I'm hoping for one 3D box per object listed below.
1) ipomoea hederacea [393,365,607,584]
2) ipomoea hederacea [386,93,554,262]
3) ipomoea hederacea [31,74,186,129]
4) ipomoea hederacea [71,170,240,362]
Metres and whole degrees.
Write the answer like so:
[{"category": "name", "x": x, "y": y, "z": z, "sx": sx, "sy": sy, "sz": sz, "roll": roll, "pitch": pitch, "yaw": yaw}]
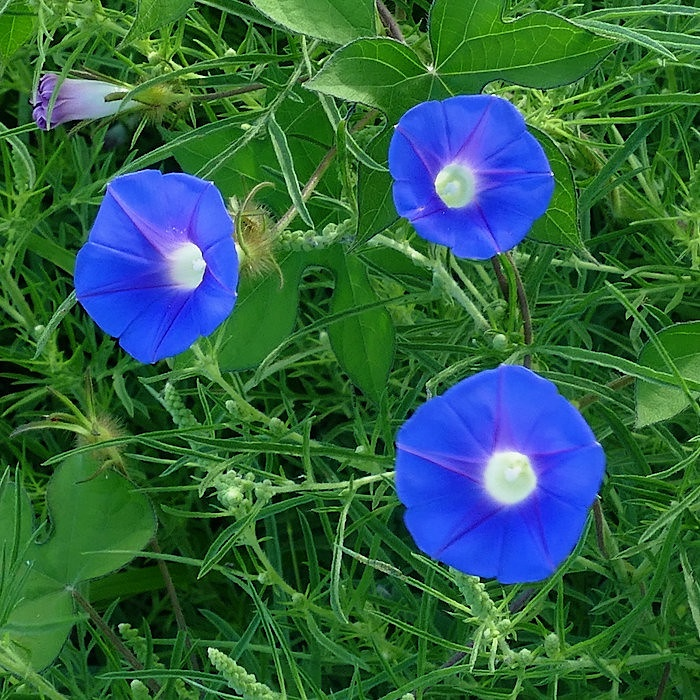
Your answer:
[{"category": "ipomoea hederacea", "x": 0.187, "y": 0.164, "z": 1.000, "sx": 0.250, "sy": 0.269, "sz": 0.171, "roll": 5, "pitch": 45, "yaw": 16}, {"category": "ipomoea hederacea", "x": 0.166, "y": -0.236, "z": 1.074, "sx": 0.210, "sy": 0.198, "sz": 0.139, "roll": 6, "pitch": 45, "yaw": 17}, {"category": "ipomoea hederacea", "x": -0.396, "y": -0.444, "z": 1.459, "sx": 0.340, "sy": 0.112, "sz": 0.107, "roll": -1, "pitch": 47, "yaw": -4}, {"category": "ipomoea hederacea", "x": -0.240, "y": -0.138, "z": 1.244, "sx": 0.343, "sy": 0.275, "sz": 0.163, "roll": 7, "pitch": 15, "yaw": 21}]
